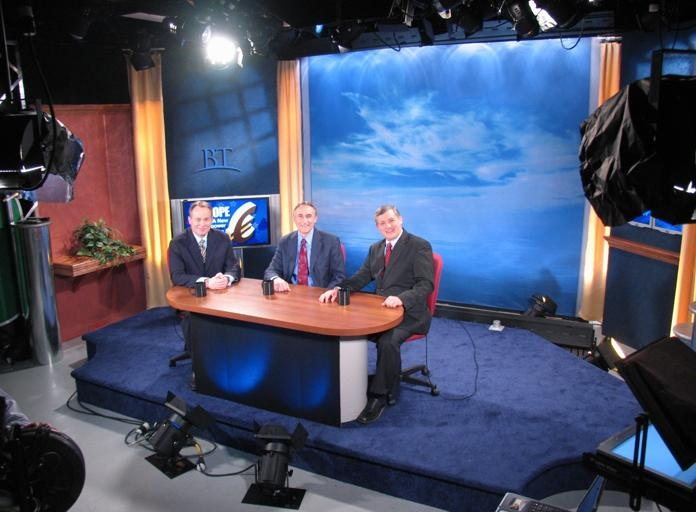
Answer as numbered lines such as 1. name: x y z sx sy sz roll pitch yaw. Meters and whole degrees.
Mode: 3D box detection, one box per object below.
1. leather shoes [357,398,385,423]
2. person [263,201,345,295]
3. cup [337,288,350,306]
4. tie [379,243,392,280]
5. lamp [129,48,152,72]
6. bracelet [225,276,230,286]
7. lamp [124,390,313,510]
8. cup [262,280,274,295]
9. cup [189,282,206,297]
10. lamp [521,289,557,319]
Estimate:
1. leather shoes: 0.179 1.170 4.013 0.098 0.098 0.264 5 9 28
2. person: -0.439 0.120 5.014 0.779 1.199 0.661 2 23 5
3. cup: -0.036 0.318 4.059 0.088 0.112 0.117 1 6 6
4. tie: 0.337 0.045 4.600 0.059 0.247 0.142 14 -15 -23
5. lamp: -2.349 -2.213 5.973 0.240 0.207 0.154 3 14 20
6. bracelet: -1.053 0.225 4.584 0.043 0.035 0.071 -2 8 -18
7. lamp: -0.947 1.381 3.859 1.275 0.513 0.621 10 10 20
8. cup: -0.662 0.265 4.393 0.093 0.110 0.105 0 4 0
9. cup: -1.242 0.267 4.334 0.126 0.108 0.080 -2 11 -9
10. lamp: 2.086 0.547 5.689 0.448 0.287 0.270 -10 15 -32
